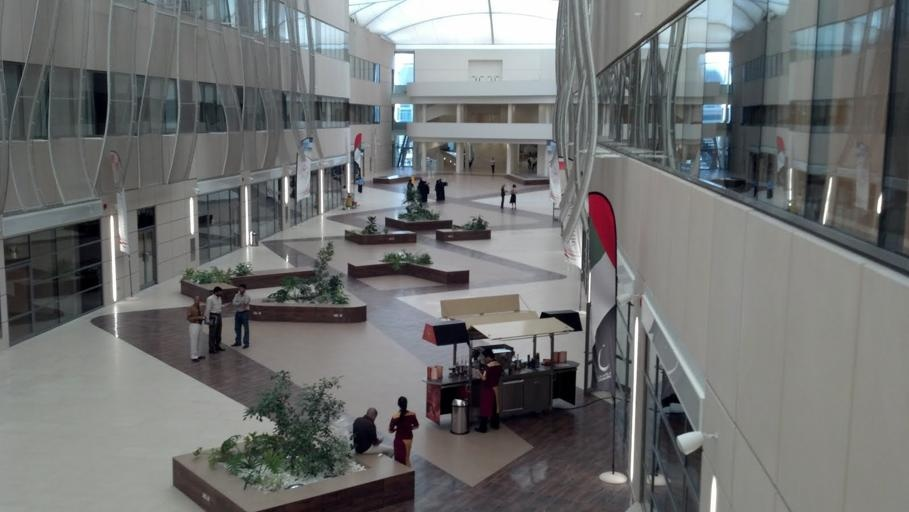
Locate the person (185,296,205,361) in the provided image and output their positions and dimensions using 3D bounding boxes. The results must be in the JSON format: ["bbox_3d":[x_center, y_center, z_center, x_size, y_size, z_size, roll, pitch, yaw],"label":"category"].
[{"bbox_3d":[-7.244,2.008,17.212,0.382,1.792,0.693,-3,14,-21],"label":"person"}]

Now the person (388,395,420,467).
[{"bbox_3d":[-1.024,3.546,12.442,0.513,1.557,1.311,1,13,-4],"label":"person"}]

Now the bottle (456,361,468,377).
[{"bbox_3d":[0.189,2.773,15.052,0.347,0.158,0.478,0,2,3],"label":"bottle"}]

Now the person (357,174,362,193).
[{"bbox_3d":[-8.266,-6.300,53.499,0.386,1.346,1.321,-2,14,-17],"label":"person"}]

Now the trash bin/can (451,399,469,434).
[{"bbox_3d":[0.150,3.683,14.196,0.516,0.728,0.472,-1,-2,14],"label":"trash bin/can"}]

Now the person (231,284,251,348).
[{"bbox_3d":[-6.427,1.749,18.391,0.505,1.860,0.879,-3,14,-21],"label":"person"}]

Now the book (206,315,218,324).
[{"bbox_3d":[-6.988,1.815,17.686,0.292,0.377,0.161,0,0,-3],"label":"book"}]

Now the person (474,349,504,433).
[{"bbox_3d":[0.844,3.172,14.350,0.546,1.639,0.920,3,13,3],"label":"person"}]
